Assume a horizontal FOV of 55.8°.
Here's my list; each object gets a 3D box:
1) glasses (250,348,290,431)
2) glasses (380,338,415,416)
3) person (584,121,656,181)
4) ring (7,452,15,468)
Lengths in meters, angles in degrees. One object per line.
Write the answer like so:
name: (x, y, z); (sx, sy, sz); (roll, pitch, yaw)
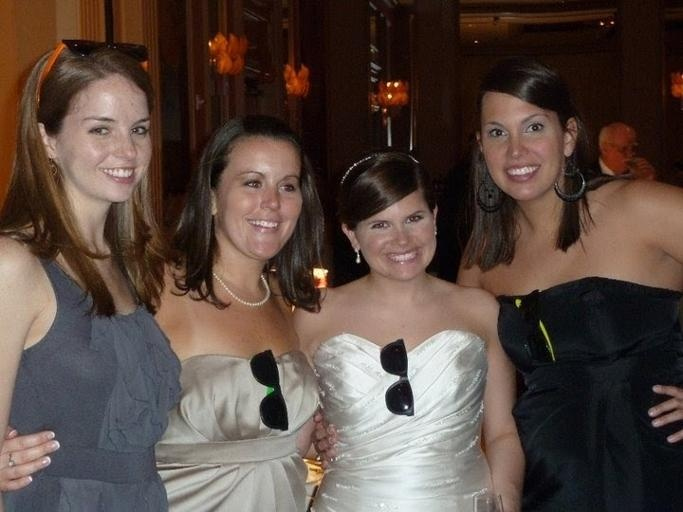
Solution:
glasses: (-0.308, 0.589, 2.748); (0.150, 0.369, 0.080); (-3, 7, -8)
glasses: (0.244, 0.536, 2.834); (0.140, 0.325, 0.119); (-2, 7, 2)
person: (3.175, -1.120, 7.292); (0.417, 0.848, 0.513); (-20, 27, -29)
ring: (-1.126, 0.701, 2.204); (0.014, 0.037, 0.020); (-15, -5, -10)
